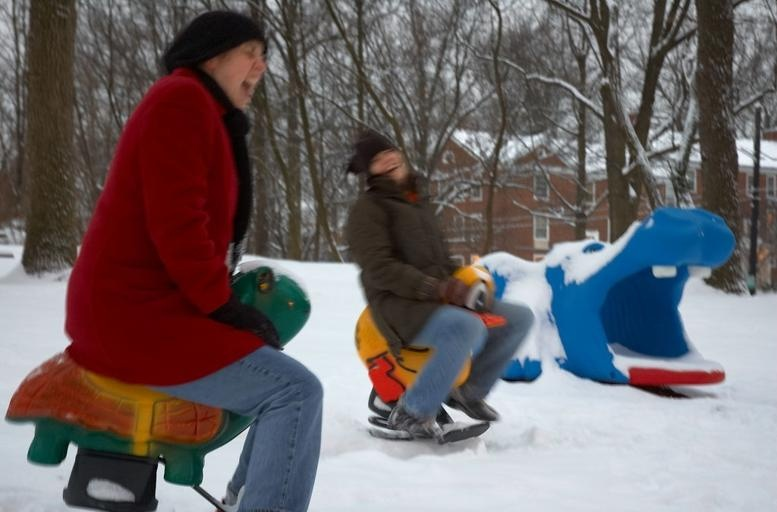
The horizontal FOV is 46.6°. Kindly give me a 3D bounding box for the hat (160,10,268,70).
[{"bbox_3d":[-1.778,-2.260,8.939,0.721,0.319,0.640,-25,-7,2],"label":"hat"}]

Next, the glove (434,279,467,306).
[{"bbox_3d":[0.706,0.394,9.906,0.329,0.287,0.085,4,3,18],"label":"glove"}]

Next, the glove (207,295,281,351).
[{"bbox_3d":[-1.379,0.723,8.647,0.573,0.218,0.420,31,-6,-17],"label":"glove"}]
